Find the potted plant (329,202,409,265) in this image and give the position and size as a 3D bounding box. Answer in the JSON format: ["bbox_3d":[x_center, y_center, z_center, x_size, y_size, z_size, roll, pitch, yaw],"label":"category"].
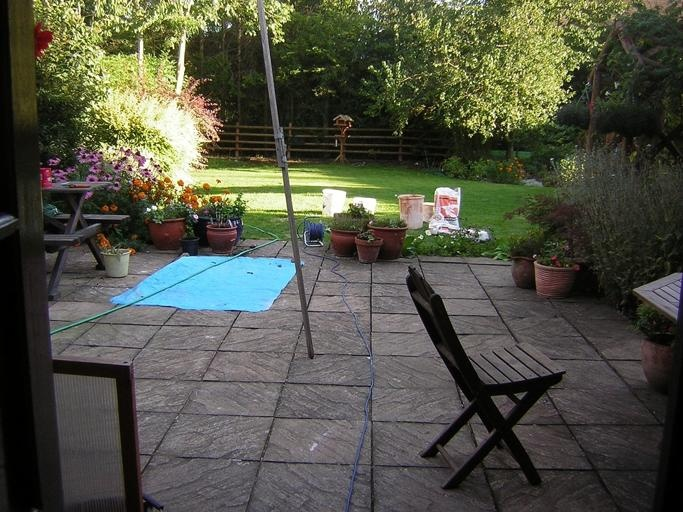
[{"bbox_3d":[0.359,-0.309,7.149,1.044,0.685,0.719,9,15,33],"label":"potted plant"}]

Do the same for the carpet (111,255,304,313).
[{"bbox_3d":[-1.457,0.285,5.958,1.668,0.153,1.869,2,12,7],"label":"carpet"}]

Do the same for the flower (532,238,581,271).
[{"bbox_3d":[2.405,-0.020,5.764,0.400,0.207,0.375,-1,31,1],"label":"flower"}]

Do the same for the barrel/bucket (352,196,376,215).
[{"bbox_3d":[0.403,-0.891,8.822,0.495,0.380,0.529,0,2,0],"label":"barrel/bucket"}]

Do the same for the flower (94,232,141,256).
[{"bbox_3d":[-2.868,-0.127,6.465,0.515,0.187,0.453,7,9,2],"label":"flower"}]

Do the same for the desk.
[{"bbox_3d":[-3.018,-0.138,5.821,0.598,0.812,1.372,0,17,-5],"label":"desk"}]

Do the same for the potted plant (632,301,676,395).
[{"bbox_3d":[2.249,0.673,3.696,0.226,0.594,0.534,7,14,25],"label":"potted plant"}]

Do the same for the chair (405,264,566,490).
[{"bbox_3d":[0.764,0.644,2.789,0.776,1.100,0.594,-1,13,-5],"label":"chair"}]

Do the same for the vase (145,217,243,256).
[{"bbox_3d":[-2.121,-0.286,7.242,0.958,0.317,0.639,0,7,-7],"label":"vase"}]

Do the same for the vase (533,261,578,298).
[{"bbox_3d":[2.367,0.280,5.779,0.476,0.336,0.464,3,6,-4],"label":"vase"}]

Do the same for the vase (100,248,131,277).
[{"bbox_3d":[-2.666,0.086,6.031,0.333,0.242,0.331,0,1,-8],"label":"vase"}]
